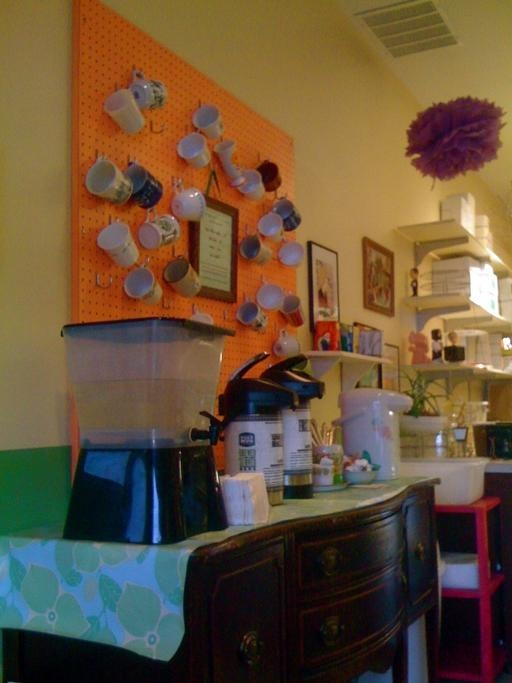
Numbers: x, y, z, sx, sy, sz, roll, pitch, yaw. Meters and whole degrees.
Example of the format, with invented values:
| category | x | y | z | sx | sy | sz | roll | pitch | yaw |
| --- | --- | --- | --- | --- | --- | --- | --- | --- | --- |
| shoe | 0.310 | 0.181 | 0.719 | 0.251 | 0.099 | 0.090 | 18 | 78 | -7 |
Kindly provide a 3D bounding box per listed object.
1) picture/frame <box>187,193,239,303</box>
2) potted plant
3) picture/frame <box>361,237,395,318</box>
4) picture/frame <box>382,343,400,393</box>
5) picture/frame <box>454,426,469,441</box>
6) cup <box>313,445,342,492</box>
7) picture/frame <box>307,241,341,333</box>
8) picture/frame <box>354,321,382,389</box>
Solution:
| category | x | y | z | sx | sy | sz | roll | pitch | yaw |
| --- | --- | --- | --- | --- | --- | --- | --- | --- | --- |
| picture/frame | -0.129 | -0.266 | 1.597 | 0.034 | 0.379 | 0.326 | -2 | -3 | 27 |
| potted plant | 0.856 | 0.357 | 2.882 | 0.272 | 0.506 | 0.329 | -5 | -9 | 30 |
| picture/frame | 0.639 | -0.346 | 2.998 | 0.030 | 0.376 | 0.440 | -5 | -7 | 30 |
| picture/frame | 0.794 | 0.169 | 3.310 | 0.011 | 0.302 | 0.295 | -12 | -7 | 13 |
| picture/frame | 1.004 | 0.453 | 2.762 | 0.068 | 0.061 | 0.063 | 1 | -3 | 11 |
| cup | 0.205 | 0.360 | 1.594 | 0.089 | 0.110 | 0.103 | 0 | 0 | 26 |
| picture/frame | 0.271 | -0.226 | 2.340 | 0.027 | 0.438 | 0.382 | -4 | -5 | 27 |
| picture/frame | 0.501 | 0.058 | 2.561 | 0.038 | 0.379 | 0.285 | -2 | -11 | 37 |
